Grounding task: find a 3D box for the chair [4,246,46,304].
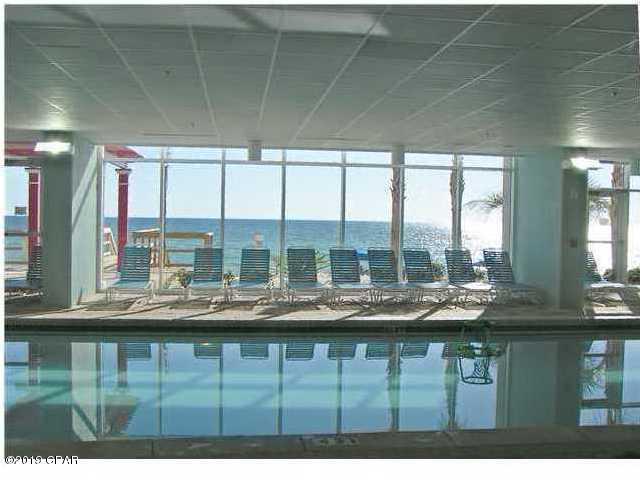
[{"bbox_3d":[-5.181,0.591,10.375,0.633,0.876,0.675,-5,15,-24],"label":"chair"}]
